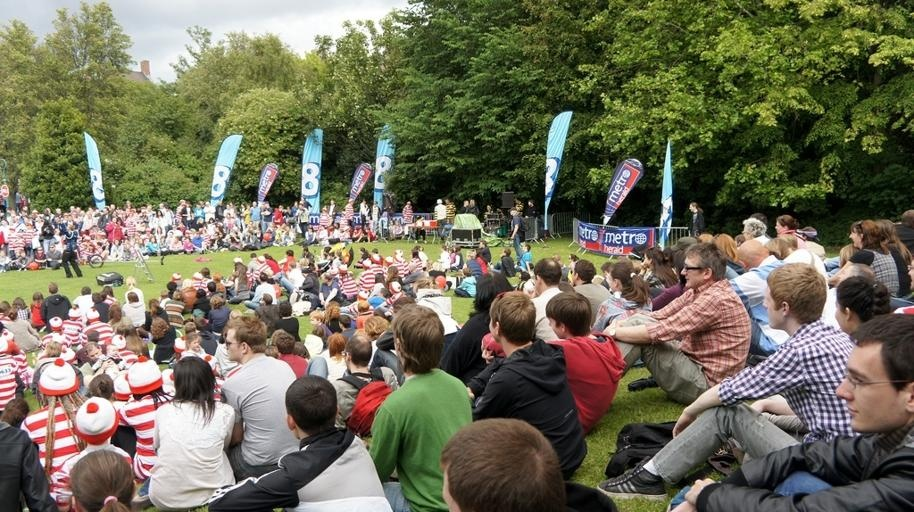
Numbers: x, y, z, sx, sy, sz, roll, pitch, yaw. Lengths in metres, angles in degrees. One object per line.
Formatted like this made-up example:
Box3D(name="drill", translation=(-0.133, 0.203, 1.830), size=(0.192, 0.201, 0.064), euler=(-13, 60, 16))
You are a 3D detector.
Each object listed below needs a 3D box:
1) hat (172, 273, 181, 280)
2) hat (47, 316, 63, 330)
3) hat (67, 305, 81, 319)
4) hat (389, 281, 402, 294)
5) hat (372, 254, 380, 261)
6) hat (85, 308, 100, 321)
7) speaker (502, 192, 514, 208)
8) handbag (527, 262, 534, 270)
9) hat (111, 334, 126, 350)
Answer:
Box3D(name="hat", translation=(-11.909, 0.833, 35.320), size=(0.302, 0.162, 0.281), euler=(4, 10, -15))
Box3D(name="hat", translation=(-14.255, 2.343, 29.536), size=(0.499, 0.373, 0.464), euler=(-1, 2, -8))
Box3D(name="hat", translation=(-13.543, 1.994, 29.557), size=(0.482, 0.399, 0.456), euler=(3, -5, 18))
Box3D(name="hat", translation=(-2.249, 1.147, 30.579), size=(0.383, 0.420, 0.419), euler=(1, -25, -16))
Box3D(name="hat", translation=(-3.337, 0.051, 34.527), size=(0.250, 0.283, 0.293), euler=(6, 36, -3))
Box3D(name="hat", translation=(-12.849, 2.041, 29.522), size=(0.440, 0.413, 0.435), euler=(22, 17, 19))
Box3D(name="speaker", translation=(2.674, -2.985, 43.660), size=(0.934, 0.799, 0.626), euler=(0, 16, -2))
Box3D(name="handbag", translation=(2.944, 0.373, 33.278), size=(0.314, 0.163, 0.357), euler=(5, 8, 3))
Box3D(name="hat", translation=(-10.968, 2.779, 27.008), size=(0.572, 0.490, 0.400), euler=(14, 11, -23))
